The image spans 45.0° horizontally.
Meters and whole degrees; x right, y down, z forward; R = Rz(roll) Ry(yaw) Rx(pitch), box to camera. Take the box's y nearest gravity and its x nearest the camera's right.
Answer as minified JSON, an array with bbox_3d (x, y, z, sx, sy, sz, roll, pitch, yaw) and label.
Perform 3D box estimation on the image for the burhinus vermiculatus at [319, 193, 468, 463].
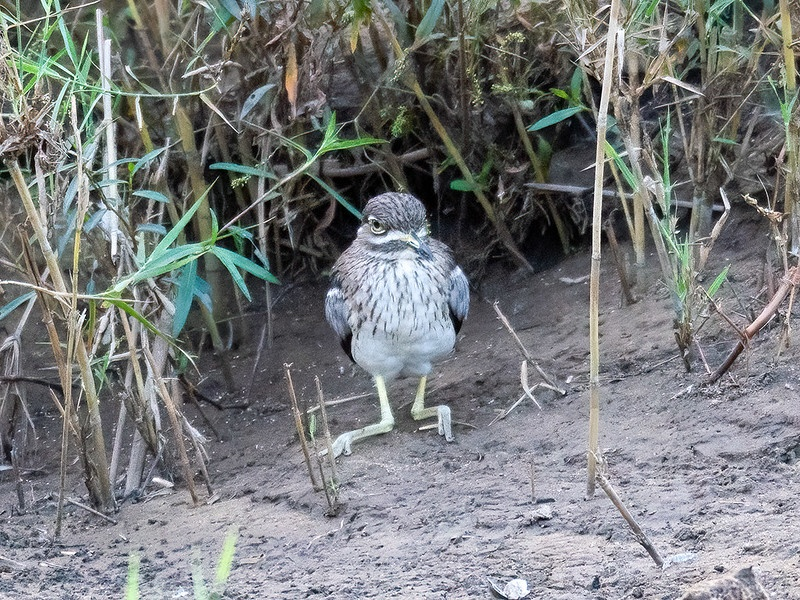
[{"bbox_3d":[-0.015,0.054,6.101,0.897,1.409,1.129,-9,14,1],"label":"burhinus vermiculatus"}]
